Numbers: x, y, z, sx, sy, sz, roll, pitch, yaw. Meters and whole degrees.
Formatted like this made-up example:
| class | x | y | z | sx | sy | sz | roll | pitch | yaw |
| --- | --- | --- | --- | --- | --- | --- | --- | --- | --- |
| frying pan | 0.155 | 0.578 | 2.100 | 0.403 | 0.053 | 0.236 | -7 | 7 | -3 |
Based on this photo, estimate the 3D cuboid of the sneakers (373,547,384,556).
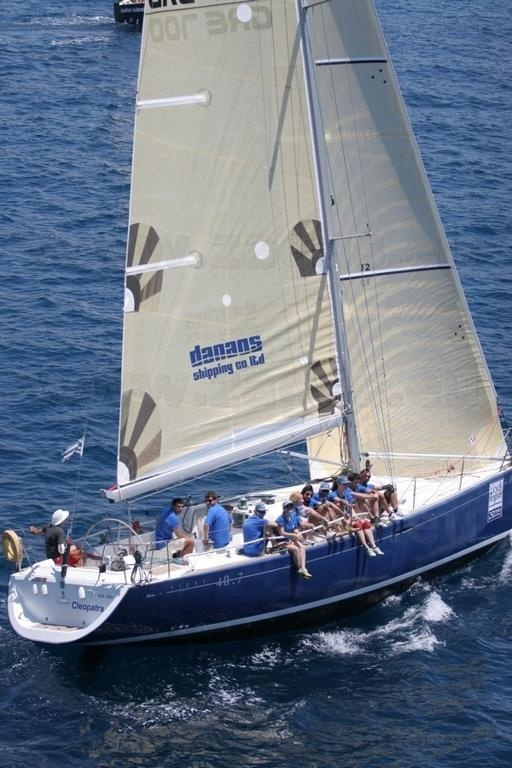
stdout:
| class | x | y | z | sx | sy | sz | roll | pitch | yaw |
| --- | --- | --- | --- | --- | --- | --- | --- | --- | --- |
| sneakers | 1.861 | 2.565 | 16.201 | 0.110 | 0.074 | 0.206 | 2 | -6 | -20 |

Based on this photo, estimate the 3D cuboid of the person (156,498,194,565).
| class | x | y | z | sx | sy | sz | roll | pitch | yaw |
| --- | --- | --- | --- | --- | --- | --- | --- | --- | --- |
| person | -1.250 | 2.043 | 15.793 | 0.576 | 0.997 | 1.305 | -2 | 22 | -3 |

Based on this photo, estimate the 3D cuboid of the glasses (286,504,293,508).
| class | x | y | z | sx | sy | sz | roll | pitch | yaw |
| --- | --- | --- | --- | --- | --- | --- | --- | --- | --- |
| glasses | 0.473 | 1.804 | 15.600 | 0.085 | 0.049 | 0.126 | 2 | -3 | 3 |

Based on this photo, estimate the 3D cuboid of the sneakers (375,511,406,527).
| class | x | y | z | sx | sy | sz | roll | pitch | yaw |
| --- | --- | --- | --- | --- | --- | --- | --- | --- | --- |
| sneakers | 2.099 | 2.118 | 16.569 | 0.521 | 0.187 | 0.171 | -5 | 13 | -5 |

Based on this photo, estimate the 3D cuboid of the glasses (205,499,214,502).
| class | x | y | z | sx | sy | sz | roll | pitch | yaw |
| --- | --- | --- | --- | --- | --- | --- | --- | --- | --- |
| glasses | -0.720 | 1.756 | 15.988 | 0.129 | 0.045 | 0.124 | -1 | 12 | 5 |

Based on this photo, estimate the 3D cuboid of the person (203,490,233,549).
| class | x | y | z | sx | sy | sz | roll | pitch | yaw |
| --- | --- | --- | --- | --- | --- | --- | --- | --- | --- |
| person | -0.592 | 2.039 | 15.986 | 0.394 | 0.739 | 0.521 | 0 | 6 | 17 |

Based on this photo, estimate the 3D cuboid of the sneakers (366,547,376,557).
| class | x | y | z | sx | sy | sz | roll | pitch | yaw |
| --- | --- | --- | --- | --- | --- | --- | --- | --- | --- |
| sneakers | 1.752 | 2.577 | 16.219 | 0.089 | 0.086 | 0.220 | -6 | -24 | 5 |

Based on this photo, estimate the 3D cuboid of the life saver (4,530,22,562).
| class | x | y | z | sx | sy | sz | roll | pitch | yaw |
| --- | --- | --- | --- | --- | --- | --- | --- | --- | --- |
| life saver | -3.484 | 2.289 | 14.972 | 0.212 | 0.492 | 0.409 | -10 | 25 | -21 |
